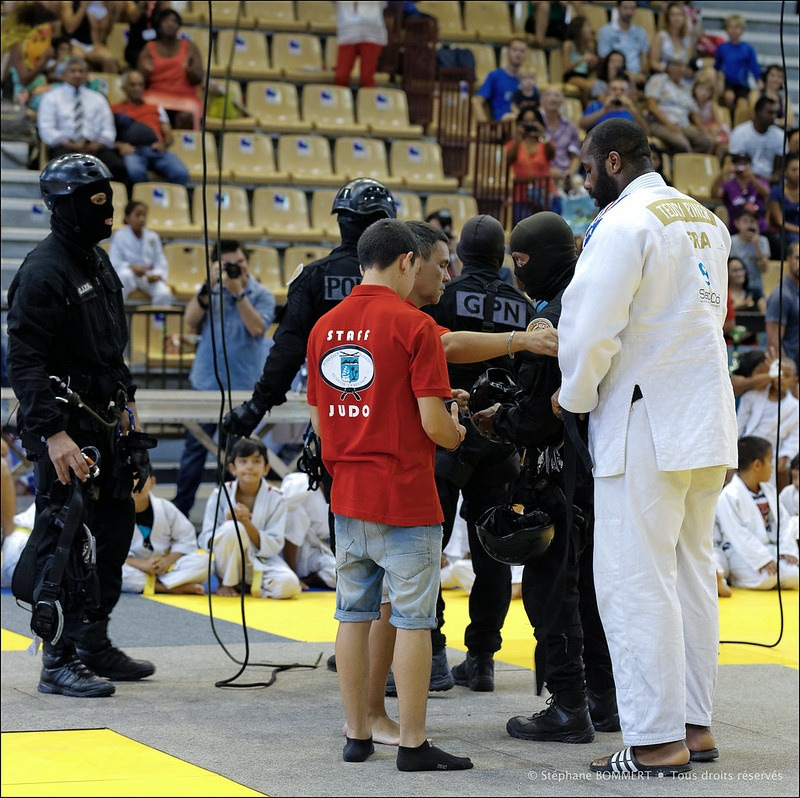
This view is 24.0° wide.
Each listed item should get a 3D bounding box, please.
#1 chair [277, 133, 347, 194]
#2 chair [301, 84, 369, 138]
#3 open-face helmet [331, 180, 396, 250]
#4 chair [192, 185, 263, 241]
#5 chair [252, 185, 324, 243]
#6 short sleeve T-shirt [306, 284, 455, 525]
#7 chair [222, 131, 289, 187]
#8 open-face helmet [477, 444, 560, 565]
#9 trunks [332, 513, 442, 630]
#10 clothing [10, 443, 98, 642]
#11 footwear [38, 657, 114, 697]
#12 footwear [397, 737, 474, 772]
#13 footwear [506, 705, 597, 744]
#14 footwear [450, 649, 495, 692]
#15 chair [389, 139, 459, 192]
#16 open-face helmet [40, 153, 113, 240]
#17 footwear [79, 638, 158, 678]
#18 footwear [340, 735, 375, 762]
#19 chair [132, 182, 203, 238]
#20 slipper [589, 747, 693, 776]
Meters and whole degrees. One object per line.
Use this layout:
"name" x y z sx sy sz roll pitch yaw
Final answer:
"chair" -0.811 -2.138 16.928 0.595 0.442 0.576 -1 7 -9
"chair" -0.670 -2.721 17.742 0.563 0.442 0.559 -5 14 -20
"open-face helmet" -0.186 -0.897 8.848 0.342 0.315 0.274 -16 24 -33
"chair" -1.449 -1.564 15.825 0.623 0.448 0.548 -4 3 -44
"chair" -0.938 -1.538 16.107 0.661 0.466 0.662 0 11 -6
"short sleeve T-shirt" -0.094 0.024 7.836 0.766 0.965 0.363 -2 -2 40
"chair" -1.317 -2.134 16.658 0.601 0.438 0.586 -4 7 -40
"open-face helmet" 0.498 0.456 8.064 0.313 0.476 0.358 4 10 23
"trunks" -0.055 0.686 7.708 0.498 0.581 0.341 4 3 38
"clothing" -1.558 0.668 8.496 0.415 0.736 0.284 13 28 13
"footwear" -1.470 1.254 8.575 0.359 0.154 0.139 1 -2 16
"footwear" 0.121 1.434 7.682 0.332 0.122 0.114 -1 -3 -10
"footwear" 0.649 1.386 8.145 0.397 0.197 0.151 3 -2 11
"footwear" 0.350 1.271 8.814 0.105 0.171 0.263 2 1 -15
"chair" 0.161 -2.129 17.226 0.598 0.451 0.595 1 9 2
"open-face helmet" -1.472 -0.918 8.634 0.363 0.415 0.286 -1 10 20
"footwear" -1.327 1.223 8.873 0.425 0.191 0.141 8 4 -9
"footwear" -0.176 1.426 7.736 0.108 0.069 0.187 1 3 4
"chair" -1.908 -1.580 15.423 0.512 0.426 0.507 0 0 -30
"slipper" 0.976 1.436 7.651 0.380 0.108 0.146 0 -8 13
